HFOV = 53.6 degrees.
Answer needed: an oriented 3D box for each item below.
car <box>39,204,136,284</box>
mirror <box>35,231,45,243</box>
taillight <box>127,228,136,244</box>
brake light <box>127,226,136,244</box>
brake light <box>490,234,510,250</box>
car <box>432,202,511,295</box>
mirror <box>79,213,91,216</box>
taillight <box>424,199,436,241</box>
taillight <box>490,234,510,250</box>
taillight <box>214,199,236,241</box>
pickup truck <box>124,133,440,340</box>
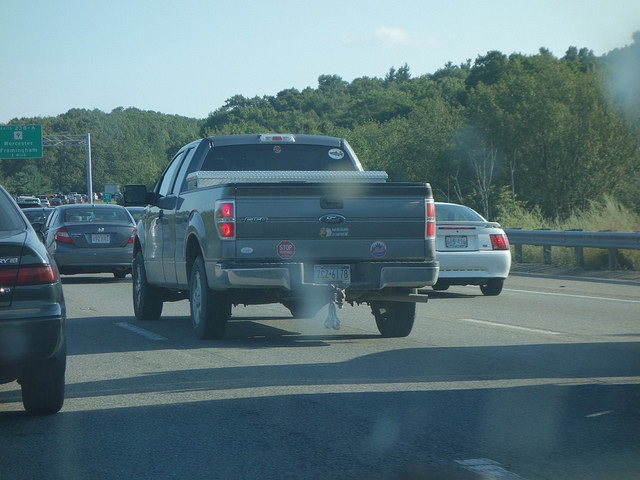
[{"bbox_3d":[-6.991,-0.310,18.888,2.471,1.824,4.743,0,11,-27],"label":"car"},{"bbox_3d":[-2.660,-0.034,5.982,0.097,0.120,0.044,-6,3,10],"label":"mirror"},{"bbox_3d":[-4.750,-0.110,15.801,0.101,0.373,0.383,10,-10,-7],"label":"taillight"},{"bbox_3d":[-4.802,-0.131,15.965,0.281,0.403,0.177,10,42,-9],"label":"brake light"},{"bbox_3d":[3.667,0.051,13.168,0.266,0.186,0.410,1,-9,-11],"label":"brake light"},{"bbox_3d":[3.181,0.192,13.275,1.478,1.970,1.653,-1,1,11],"label":"car"},{"bbox_3d":[-6.616,-0.720,17.686,0.397,0.087,0.049,2,-37,-44],"label":"mirror"},{"bbox_3d":[1.383,-0.262,8.004,0.102,0.497,0.284,-1,1,19],"label":"taillight"},{"bbox_3d":[3.680,0.030,12.982,0.269,0.182,0.404,1,-10,-12],"label":"taillight"},{"bbox_3d":[-1.126,-0.240,7.518,0.278,0.485,0.113,-1,1,9],"label":"taillight"},{"bbox_3d":[-1.010,-0.149,9.622,3.402,3.009,5.229,-1,2,-28],"label":"pickup truck"}]
